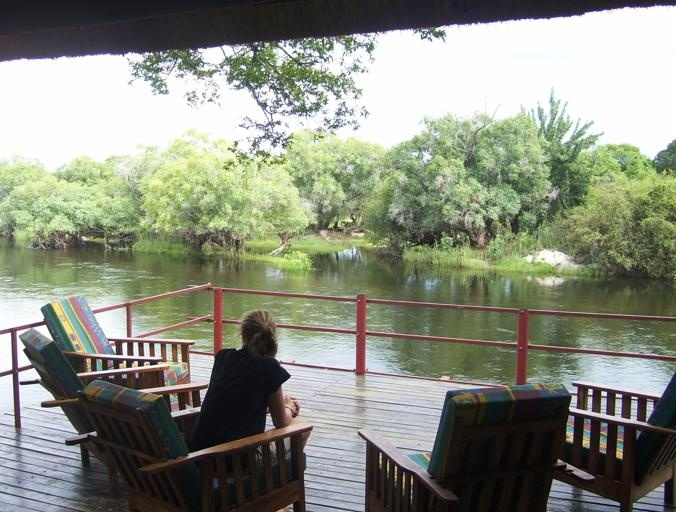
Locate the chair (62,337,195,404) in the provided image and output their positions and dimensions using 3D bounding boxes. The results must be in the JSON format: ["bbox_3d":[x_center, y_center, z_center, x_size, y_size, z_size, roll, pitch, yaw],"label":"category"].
[{"bbox_3d":[-1.745,0.935,4.866,0.871,0.711,0.673,-2,1,-7],"label":"chair"}]

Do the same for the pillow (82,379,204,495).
[{"bbox_3d":[-0.991,0.935,3.330,0.487,0.614,0.733,6,10,32],"label":"pillow"}]

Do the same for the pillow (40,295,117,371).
[{"bbox_3d":[-2.326,0.659,4.925,0.135,0.626,0.612,-32,-19,19],"label":"pillow"}]

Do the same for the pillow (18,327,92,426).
[{"bbox_3d":[-2.027,0.908,4.062,0.594,0.769,0.366,2,2,44],"label":"pillow"}]
